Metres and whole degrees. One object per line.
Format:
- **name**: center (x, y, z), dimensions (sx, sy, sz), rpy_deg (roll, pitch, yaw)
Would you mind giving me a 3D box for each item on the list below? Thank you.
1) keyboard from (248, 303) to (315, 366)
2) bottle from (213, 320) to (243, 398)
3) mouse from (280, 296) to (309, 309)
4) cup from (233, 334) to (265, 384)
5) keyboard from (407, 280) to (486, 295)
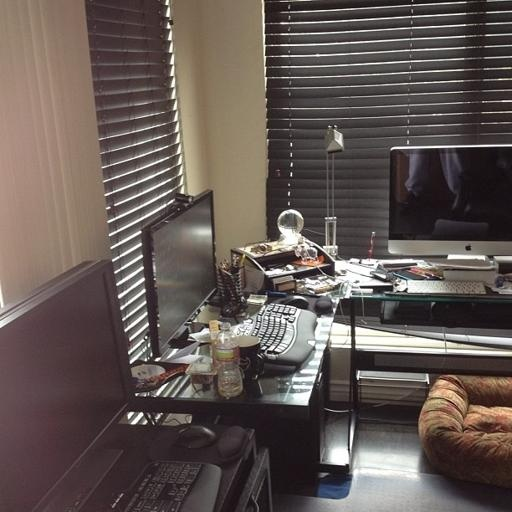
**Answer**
- **keyboard**: center (0.100, 0.293, 1.733), dimensions (0.230, 0.072, 0.454), rpy_deg (4, 22, 8)
- **bottle**: center (-0.089, 0.312, 1.446), dimensions (0.083, 0.153, 0.251), rpy_deg (-4, 14, -6)
- **mouse**: center (0.174, 0.202, 2.047), dimensions (0.091, 0.028, 0.056), rpy_deg (12, 22, 18)
- **cup**: center (-0.016, 0.332, 1.481), dimensions (0.107, 0.123, 0.115), rpy_deg (-2, 7, 0)
- **keyboard**: center (0.852, 0.146, 2.103), dimensions (0.341, 0.040, 0.119), rpy_deg (0, 14, 9)
